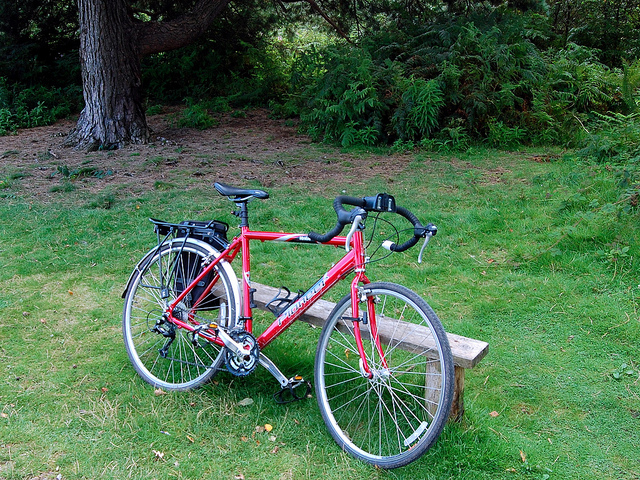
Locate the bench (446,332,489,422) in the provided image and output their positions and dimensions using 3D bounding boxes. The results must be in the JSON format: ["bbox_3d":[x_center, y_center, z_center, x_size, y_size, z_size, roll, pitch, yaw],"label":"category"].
[{"bbox_3d":[1.237,1.177,4.758,0.333,0.669,0.357,4,16,8],"label":"bench"}]

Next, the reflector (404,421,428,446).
[{"bbox_3d":[0.743,1.553,4.462,0.044,0.094,0.319,-40,-5,-37],"label":"reflector"}]
